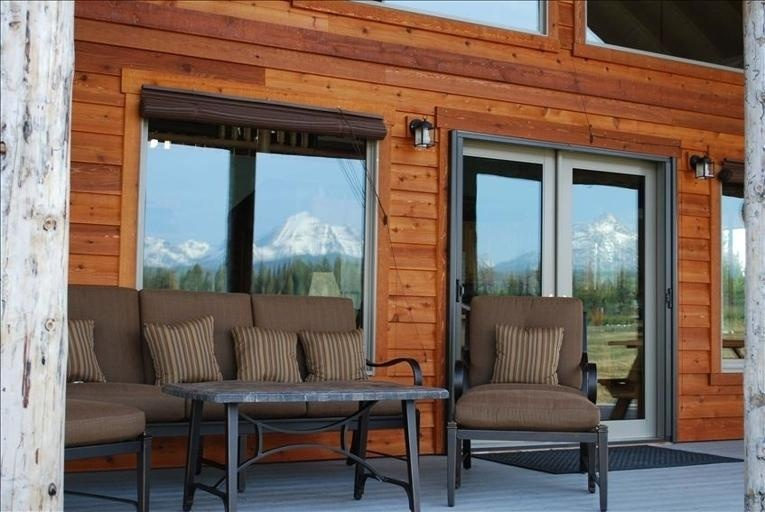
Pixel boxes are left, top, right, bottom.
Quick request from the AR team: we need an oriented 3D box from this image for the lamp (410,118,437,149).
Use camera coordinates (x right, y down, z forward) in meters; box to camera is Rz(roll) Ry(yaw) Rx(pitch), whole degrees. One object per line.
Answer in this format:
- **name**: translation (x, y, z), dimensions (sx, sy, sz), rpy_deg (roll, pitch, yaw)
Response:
- **lamp**: translation (0.330, -0.971, 7.912), dimensions (0.183, 0.245, 0.201), rpy_deg (1, -4, -19)

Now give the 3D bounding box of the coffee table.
- **coffee table**: translation (-0.527, 1.183, 6.292), dimensions (1.599, 0.804, 1.119), rpy_deg (0, -4, -13)

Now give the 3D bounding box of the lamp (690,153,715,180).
- **lamp**: translation (2.824, -0.791, 8.836), dimensions (0.201, 0.210, 0.129), rpy_deg (-2, -4, 18)

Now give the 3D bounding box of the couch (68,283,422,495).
- **couch**: translation (-0.888, 1.002, 6.821), dimensions (2.127, 1.037, 0.766), rpy_deg (-2, -10, -6)

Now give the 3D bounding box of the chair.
- **chair**: translation (0.993, 0.972, 6.985), dimensions (1.054, 1.418, 1.101), rpy_deg (-1, -3, 6)
